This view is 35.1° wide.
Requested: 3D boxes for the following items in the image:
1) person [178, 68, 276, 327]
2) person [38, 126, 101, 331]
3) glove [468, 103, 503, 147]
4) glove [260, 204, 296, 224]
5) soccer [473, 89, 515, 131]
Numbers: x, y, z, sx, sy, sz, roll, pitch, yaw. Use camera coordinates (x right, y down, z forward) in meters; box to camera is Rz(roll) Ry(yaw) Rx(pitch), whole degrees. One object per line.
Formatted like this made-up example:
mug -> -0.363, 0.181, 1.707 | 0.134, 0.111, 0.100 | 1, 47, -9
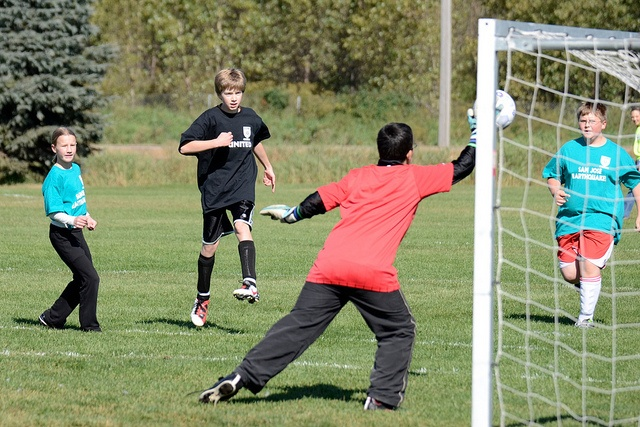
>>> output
person -> -1.317, -0.232, 14.216 | 1.170, 3.370, 1.456 | 0, 1, -24
person -> -3.422, 0.214, 13.862 | 0.888, 2.747, 1.115 | 3, -1, -40
glove -> 1.940, -1.026, 11.870 | 0.390, 0.550, 0.192 | 10, 1, 33
glove -> -0.489, -0.003, 12.364 | 0.310, 0.139, 0.231 | 11, 10, 17
soccer -> 2.125, -1.367, 12.587 | 0.296, 0.371, 0.359 | 13, -34, -20
